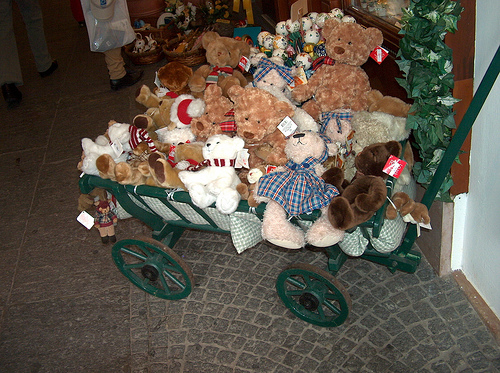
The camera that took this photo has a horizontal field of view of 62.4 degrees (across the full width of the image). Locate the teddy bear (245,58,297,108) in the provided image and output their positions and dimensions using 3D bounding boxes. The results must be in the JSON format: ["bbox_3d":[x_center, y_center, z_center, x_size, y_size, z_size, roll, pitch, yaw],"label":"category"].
[{"bbox_3d":[0.178,-0.825,3.277,0.465,0.414,0.281,12,34,3],"label":"teddy bear"}]

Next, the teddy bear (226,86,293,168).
[{"bbox_3d":[0.068,-0.404,2.958,0.509,0.572,0.391,14,42,14],"label":"teddy bear"}]

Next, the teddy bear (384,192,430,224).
[{"bbox_3d":[1.000,0.134,2.600,0.227,0.222,0.080,23,22,20],"label":"teddy bear"}]

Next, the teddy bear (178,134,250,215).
[{"bbox_3d":[-0.243,-0.104,2.750,0.503,0.457,0.445,1,22,-2],"label":"teddy bear"}]

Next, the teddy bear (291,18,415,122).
[{"bbox_3d":[0.761,-0.862,3.119,0.838,0.577,0.558,10,49,16],"label":"teddy bear"}]

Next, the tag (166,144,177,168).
[{"bbox_3d":[-0.554,-0.224,2.934,0.057,0.105,0.141,2,81,24],"label":"tag"}]

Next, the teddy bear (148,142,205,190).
[{"bbox_3d":[-0.495,-0.170,2.833,0.252,0.162,0.393,27,36,16],"label":"teddy bear"}]

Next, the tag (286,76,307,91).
[{"bbox_3d":[0.358,-0.809,3.254,0.115,0.031,0.113,-42,63,10],"label":"tag"}]

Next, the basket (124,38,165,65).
[{"bbox_3d":[-1.720,-2.058,6.570,0.531,0.192,0.507,21,47,32],"label":"basket"}]

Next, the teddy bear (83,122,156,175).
[{"bbox_3d":[-1.038,-0.304,3.157,0.429,0.183,0.431,-43,83,-2],"label":"teddy bear"}]

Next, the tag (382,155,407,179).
[{"bbox_3d":[0.894,-0.125,2.570,0.122,0.126,0.018,26,19,9],"label":"tag"}]

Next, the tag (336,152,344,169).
[{"bbox_3d":[0.641,-0.186,2.949,0.044,0.126,0.051,8,8,21],"label":"tag"}]

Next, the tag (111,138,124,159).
[{"bbox_3d":[-0.995,-0.288,3.085,0.146,0.104,0.015,52,24,8],"label":"tag"}]

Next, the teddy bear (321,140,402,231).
[{"bbox_3d":[0.666,-0.041,2.577,0.349,0.588,0.435,9,5,-33],"label":"teddy bear"}]

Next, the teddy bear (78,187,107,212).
[{"bbox_3d":[-1.379,0.113,3.622,0.102,0.138,0.250,-47,18,-23],"label":"teddy bear"}]

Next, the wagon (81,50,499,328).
[{"bbox_3d":[0.280,-0.096,3.438,2.569,1.952,1.509,9,38,16],"label":"wagon"}]

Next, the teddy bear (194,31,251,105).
[{"bbox_3d":[-0.243,-0.995,3.442,0.446,0.526,0.437,7,6,35],"label":"teddy bear"}]

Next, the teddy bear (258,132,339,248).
[{"bbox_3d":[0.297,0.031,2.585,0.527,0.256,0.706,3,76,16],"label":"teddy bear"}]

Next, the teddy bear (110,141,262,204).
[{"bbox_3d":[-0.636,-0.089,2.986,0.602,0.591,0.199,5,68,19],"label":"teddy bear"}]

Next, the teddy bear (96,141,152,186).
[{"bbox_3d":[-0.823,-0.185,2.875,0.333,0.152,0.335,22,61,23],"label":"teddy bear"}]
